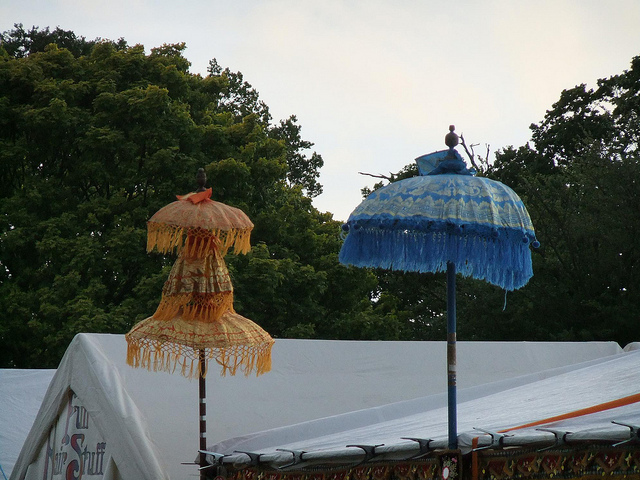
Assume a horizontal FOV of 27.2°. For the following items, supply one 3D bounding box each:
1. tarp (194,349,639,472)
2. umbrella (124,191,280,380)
[{"bbox_3d":[2.042,2.981,22.874,7.276,2.177,4.817,-4,-12,20],"label":"tarp"},{"bbox_3d":[-2.037,0.601,22.381,2.526,3.111,2.570,5,5,44],"label":"umbrella"}]
